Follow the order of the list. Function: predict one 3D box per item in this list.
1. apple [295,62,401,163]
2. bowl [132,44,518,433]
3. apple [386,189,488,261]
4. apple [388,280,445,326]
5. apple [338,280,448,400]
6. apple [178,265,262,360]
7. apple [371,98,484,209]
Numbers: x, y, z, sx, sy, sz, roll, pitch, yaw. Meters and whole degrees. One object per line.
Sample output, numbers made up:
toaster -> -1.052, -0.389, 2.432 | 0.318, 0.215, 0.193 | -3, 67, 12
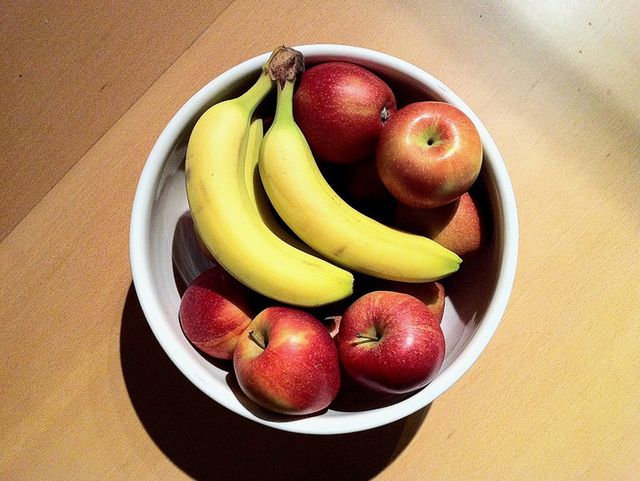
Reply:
apple -> 0.065, -0.243, 1.085 | 0.172, 0.162, 0.169 | -1, 53, 23
bowl -> 0.005, -0.006, 0.985 | 0.557, 0.694, 0.344 | 1, -2, -3
apple -> 0.207, -0.025, 1.019 | 0.134, 0.131, 0.133 | -1, 12, -5
apple -> 0.170, 0.103, 1.065 | 0.066, 0.088, 0.079 | -13, -13, -6
apple -> 0.101, 0.170, 1.017 | 0.138, 0.166, 0.167 | -17, -20, 18
apple -> -0.188, 0.113, 1.064 | 0.136, 0.162, 0.144 | 9, 1, -40
apple -> 0.177, -0.134, 0.954 | 0.143, 0.157, 0.174 | -4, 57, 13
